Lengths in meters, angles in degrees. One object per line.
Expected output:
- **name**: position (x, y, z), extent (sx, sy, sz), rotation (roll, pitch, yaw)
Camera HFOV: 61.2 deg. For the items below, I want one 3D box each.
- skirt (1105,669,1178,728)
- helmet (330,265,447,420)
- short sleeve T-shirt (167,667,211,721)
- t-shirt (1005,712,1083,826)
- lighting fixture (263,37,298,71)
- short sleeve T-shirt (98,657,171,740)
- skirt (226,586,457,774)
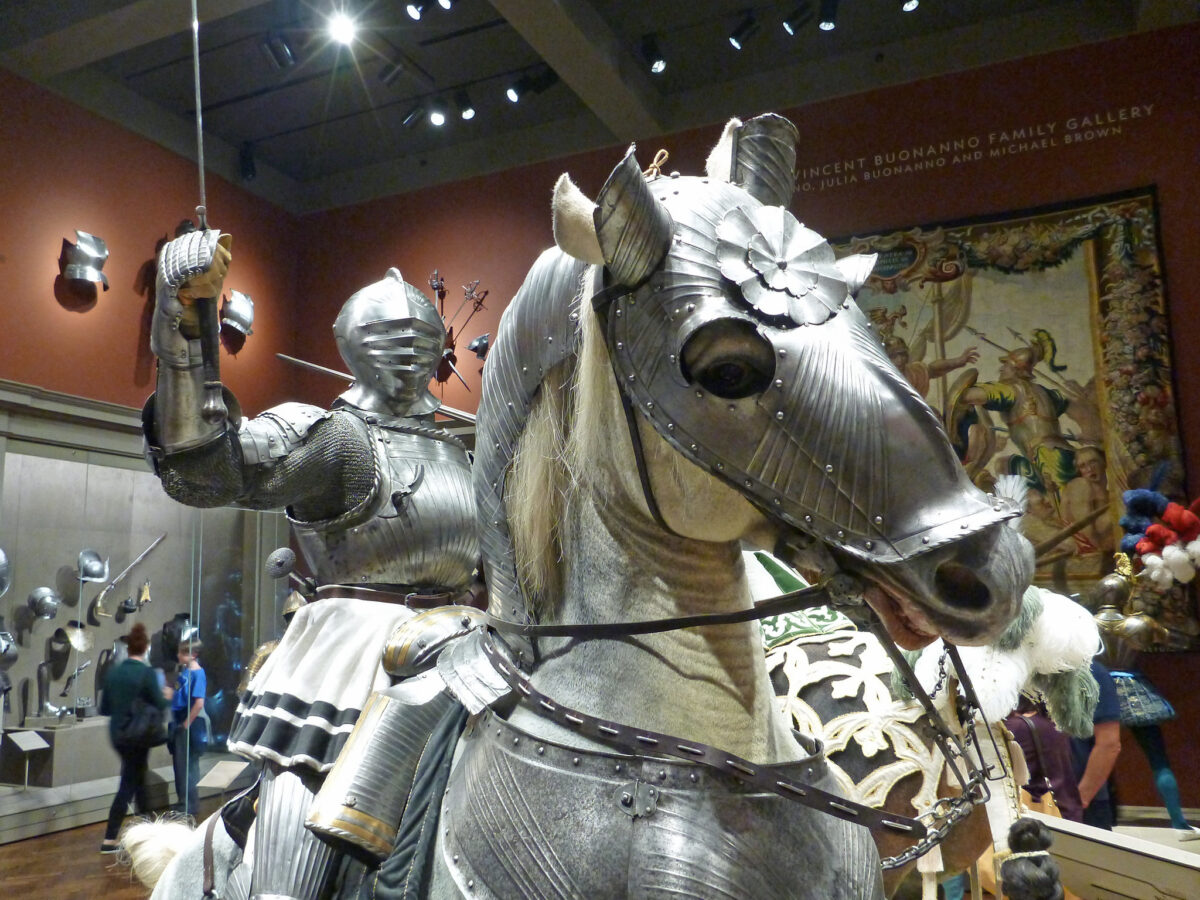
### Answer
- **skirt**: position (2.897, 1.332, 5.490), extent (0.225, 0.137, 0.223), rotation (-27, 2, -35)
- **helmet**: position (-0.755, -0.383, 3.692), extent (0.395, 0.561, 0.487), rotation (0, -4, -39)
- **short sleeve T-shirt**: position (-2.586, 1.509, 6.445), extent (0.241, 0.463, 0.387), rotation (3, -8, -18)
- **t-shirt**: position (1.906, 1.350, 4.366), extent (0.326, 0.479, 0.255), rotation (-5, -11, -21)
- **lighting fixture**: position (-2.019, -2.499, 6.400), extent (0.130, 0.142, 0.238), rotation (-5, -28, 20)
- **short sleeve T-shirt**: position (-2.781, 1.500, 6.042), extent (0.390, 0.510, 0.270), rotation (2, -8, -10)
- **skirt**: position (-0.839, 0.706, 3.029), extent (0.361, 0.478, 0.487), rotation (18, -17, -31)
